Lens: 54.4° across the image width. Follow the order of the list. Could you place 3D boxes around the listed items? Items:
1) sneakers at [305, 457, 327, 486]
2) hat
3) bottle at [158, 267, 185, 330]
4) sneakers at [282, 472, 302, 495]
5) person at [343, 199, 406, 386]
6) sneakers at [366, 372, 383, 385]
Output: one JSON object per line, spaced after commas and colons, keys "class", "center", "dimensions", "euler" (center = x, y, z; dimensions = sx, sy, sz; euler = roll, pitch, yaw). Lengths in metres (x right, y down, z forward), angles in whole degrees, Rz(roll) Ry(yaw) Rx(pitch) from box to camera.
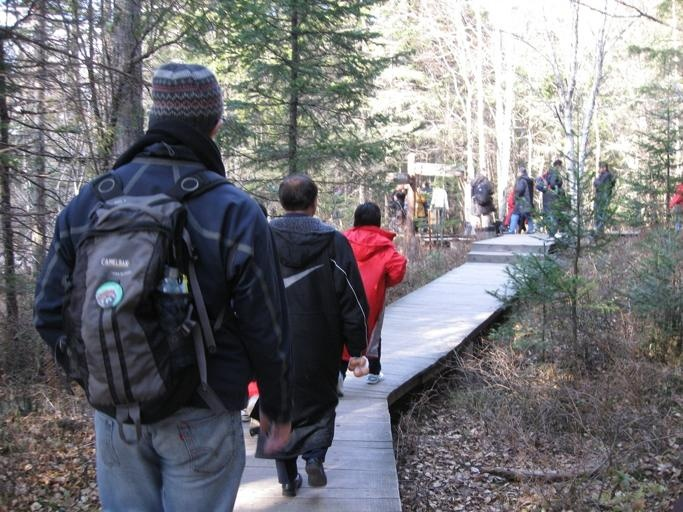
{"class": "sneakers", "center": [-0.205, 1.690, 5.262], "dimensions": [0.106, 0.278, 0.125], "euler": [-1, 30, 2]}
{"class": "hat", "center": [-0.906, -0.947, 3.918], "dimensions": [0.256, 0.370, 0.366], "euler": [5, 27, 17]}
{"class": "bottle", "center": [-0.929, 0.228, 3.644], "dimensions": [0.158, 0.313, 0.109], "euler": [2, -8, -42]}
{"class": "sneakers", "center": [-0.403, 1.863, 5.450], "dimensions": [0.071, 0.108, 0.230], "euler": [0, 4, 7]}
{"class": "person", "center": [0.276, 0.372, 7.030], "dimensions": [0.769, 1.970, 0.724], "euler": [10, 18, 20]}
{"class": "sneakers", "center": [0.360, 1.343, 7.281], "dimensions": [0.155, 0.081, 0.094], "euler": [6, -25, -12]}
